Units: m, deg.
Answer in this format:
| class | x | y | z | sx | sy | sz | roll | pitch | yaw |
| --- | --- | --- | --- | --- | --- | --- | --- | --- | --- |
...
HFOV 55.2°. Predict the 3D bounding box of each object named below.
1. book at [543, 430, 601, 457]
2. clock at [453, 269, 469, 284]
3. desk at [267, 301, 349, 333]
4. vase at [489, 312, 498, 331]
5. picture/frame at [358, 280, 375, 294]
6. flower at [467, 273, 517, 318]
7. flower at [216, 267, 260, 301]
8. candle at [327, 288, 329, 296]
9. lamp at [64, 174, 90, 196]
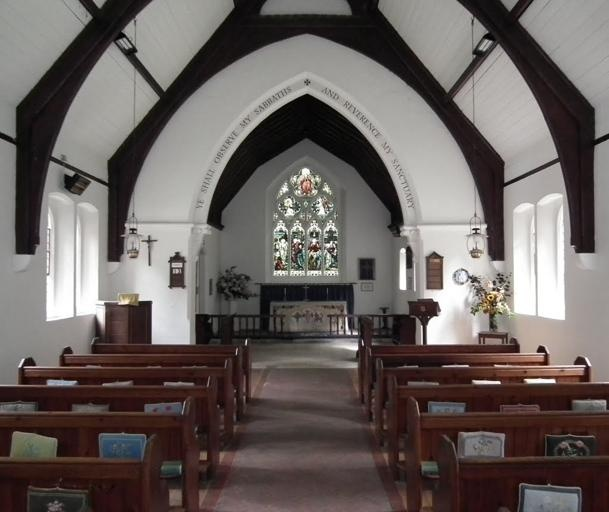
| class | x | y | z | sx | sy | sz | roll | pitch | yaw |
| --- | --- | --- | --- | --- | --- | --- | --- | --- | --- |
| book | 2.291 | 1.595 | 4.885 | 0.468 | 0.185 | 0.171 | 0 | 1 | -4 |
| clock | 3.020 | 0.398 | 11.127 | 0.237 | 0.311 | 0.061 | 3 | -7 | -3 |
| desk | 0.090 | 1.635 | 15.585 | 2.163 | 0.785 | 1.211 | 0 | 1 | 1 |
| vase | 3.526 | 1.216 | 10.784 | 0.152 | 0.377 | 0.554 | 0 | 1 | 18 |
| picture/frame | 1.786 | 0.888 | 16.745 | 0.293 | 0.315 | 0.024 | 2 | 3 | -8 |
| flower | 3.545 | 0.755 | 10.865 | 0.641 | 0.907 | 0.278 | 0 | -4 | 9 |
| flower | -1.984 | 0.849 | 16.646 | 0.808 | 1.061 | 0.922 | -1 | -6 | 5 |
| candle | 0.650 | 0.989 | 16.175 | 0.089 | 0.195 | 0.037 | 0 | 1 | -13 |
| lamp | -3.730 | -1.156 | 9.446 | 0.271 | 0.308 | 0.403 | 0 | 1 | 8 |
